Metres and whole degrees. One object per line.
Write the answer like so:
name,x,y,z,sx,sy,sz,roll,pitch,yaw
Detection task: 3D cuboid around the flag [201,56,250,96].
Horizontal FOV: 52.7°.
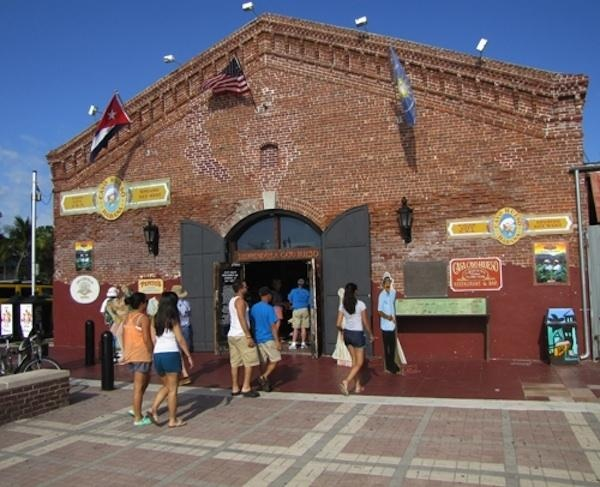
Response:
flag,-1.990,-4.549,16.507,1.546,0.328,1.489,-5,-30,-6

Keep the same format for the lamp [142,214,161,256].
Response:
lamp,-4.245,-0.166,17.039,0.433,1.099,0.445,-1,2,20

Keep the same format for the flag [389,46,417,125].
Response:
flag,2.516,-3.904,14.742,0.608,2.019,1.104,-1,2,9

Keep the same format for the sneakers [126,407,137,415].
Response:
sneakers,-2.854,2.844,10.224,0.186,0.125,0.190,3,-8,-24

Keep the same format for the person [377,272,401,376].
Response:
person,1.897,1.741,12.865,0.411,2.107,0.548,-1,2,8

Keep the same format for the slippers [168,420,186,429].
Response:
slippers,-1.972,2.862,9.691,0.222,0.095,0.120,-1,2,-42

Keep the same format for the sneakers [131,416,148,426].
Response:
sneakers,-2.576,2.876,9.802,0.214,0.101,0.118,8,-10,-5

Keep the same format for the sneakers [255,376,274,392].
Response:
sneakers,-0.678,2.736,11.811,0.166,0.247,0.529,3,-6,15

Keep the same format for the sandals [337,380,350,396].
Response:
sandals,0.816,2.682,11.180,0.120,0.138,0.336,11,-29,12

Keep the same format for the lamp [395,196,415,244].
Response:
lamp,2.615,-0.620,14.843,0.476,1.123,0.413,-3,-3,-4

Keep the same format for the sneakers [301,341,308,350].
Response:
sneakers,0.111,2.765,16.367,0.118,0.165,0.369,-1,-13,11

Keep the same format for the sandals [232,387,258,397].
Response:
sandals,-1.009,2.753,11.272,0.463,0.159,0.191,-3,-8,14

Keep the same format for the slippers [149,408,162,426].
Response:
slippers,-2.402,2.801,9.918,0.212,0.273,0.485,-2,2,-14

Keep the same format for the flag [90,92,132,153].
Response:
flag,-5.472,-3.405,17.380,1.095,1.672,0.898,-2,2,-20
